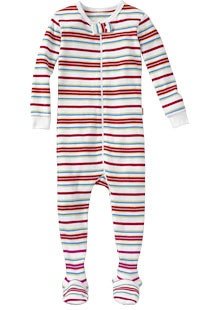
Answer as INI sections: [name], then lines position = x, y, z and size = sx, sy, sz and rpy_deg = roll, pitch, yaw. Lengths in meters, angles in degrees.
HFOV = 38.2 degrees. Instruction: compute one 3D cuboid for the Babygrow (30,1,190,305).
[Babygrow]
position = -0.042, -0.038, 1.953
size = 0.961, 1.644, 0.967
rpy_deg = 7, -34, -11
